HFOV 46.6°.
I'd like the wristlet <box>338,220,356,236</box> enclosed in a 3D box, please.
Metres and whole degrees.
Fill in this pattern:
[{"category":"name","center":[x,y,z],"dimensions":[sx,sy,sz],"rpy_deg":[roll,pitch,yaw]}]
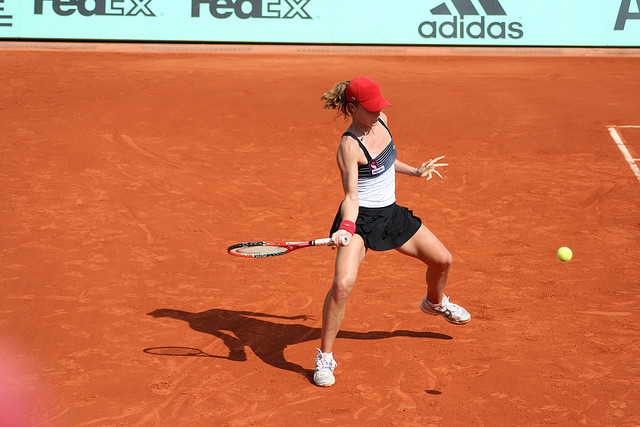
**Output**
[{"category":"wristlet","center":[0.384,0.190,10.626],"dimensions":[0.198,0.150,0.199],"rpy_deg":[17,-8,18]}]

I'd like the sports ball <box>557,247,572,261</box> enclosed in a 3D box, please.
[{"category":"sports ball","center":[4.285,0.692,12.880],"dimensions":[0.261,0.220,0.227],"rpy_deg":[-2,8,35]}]

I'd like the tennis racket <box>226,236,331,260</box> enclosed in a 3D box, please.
[{"category":"tennis racket","center":[-0.752,0.603,12.733],"dimensions":[1.546,0.113,0.414],"rpy_deg":[-3,-18,9]}]
